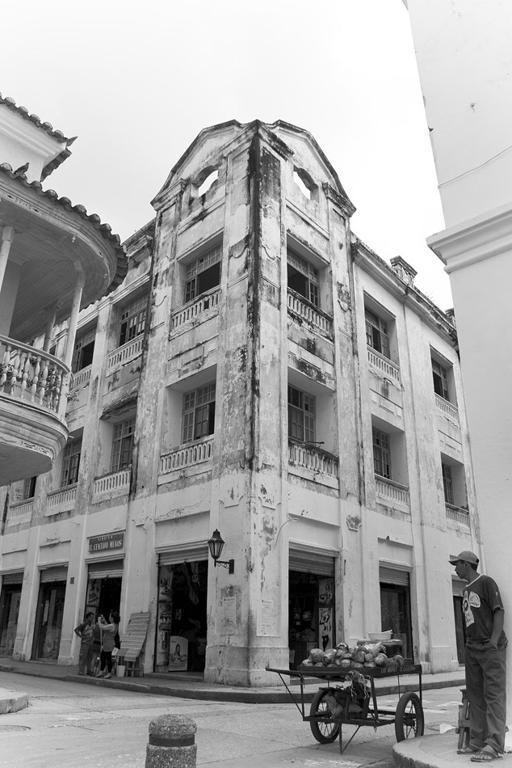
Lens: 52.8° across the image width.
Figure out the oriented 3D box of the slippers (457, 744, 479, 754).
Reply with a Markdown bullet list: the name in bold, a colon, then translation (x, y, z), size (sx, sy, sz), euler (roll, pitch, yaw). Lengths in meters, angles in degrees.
- **slippers**: translation (1.413, 2.418, 3.428), size (0.106, 0.049, 0.062), euler (4, -24, -8)

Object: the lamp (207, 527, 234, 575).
- **lamp**: translation (-0.920, 4.133, 12.771), size (0.673, 1.080, 0.620), euler (-14, -27, 34)

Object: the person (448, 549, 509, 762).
- **person**: translation (1.627, 1.849, 3.704), size (0.371, 1.349, 0.947), euler (-7, -24, 21)
